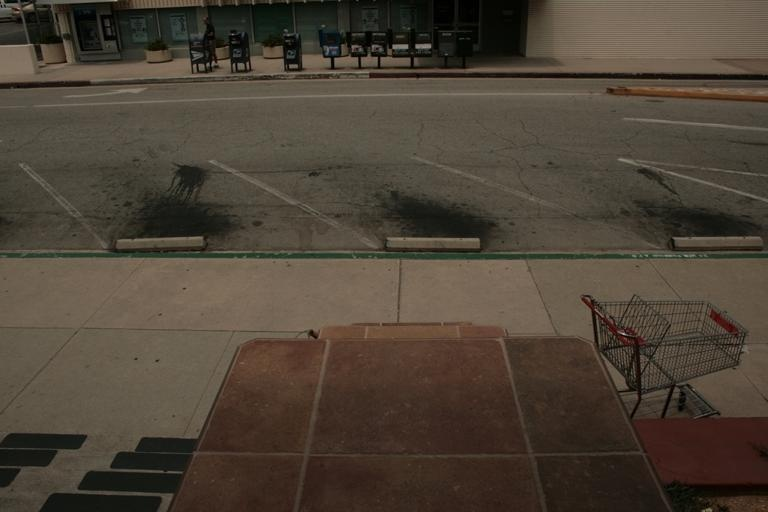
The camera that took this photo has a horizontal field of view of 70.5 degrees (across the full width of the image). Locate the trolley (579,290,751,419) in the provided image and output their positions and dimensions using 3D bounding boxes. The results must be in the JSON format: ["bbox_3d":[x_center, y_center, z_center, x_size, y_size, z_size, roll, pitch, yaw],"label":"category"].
[{"bbox_3d":[3.157,1.103,6.167,1.492,1.098,0.805,-11,24,4],"label":"trolley"}]

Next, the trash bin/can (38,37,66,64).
[{"bbox_3d":[-15.978,-9.971,26.319,1.001,1.186,0.586,-12,28,-24],"label":"trash bin/can"}]

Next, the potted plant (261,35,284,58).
[{"bbox_3d":[-5.203,-9.844,25.562,0.965,0.985,0.682,3,26,7],"label":"potted plant"}]

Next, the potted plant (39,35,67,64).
[{"bbox_3d":[-16.575,-10.179,26.773,1.500,1.379,1.557,-5,26,-21],"label":"potted plant"}]

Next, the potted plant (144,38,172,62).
[{"bbox_3d":[-10.592,-9.666,25.729,1.264,1.054,1.199,-19,35,-30],"label":"potted plant"}]
